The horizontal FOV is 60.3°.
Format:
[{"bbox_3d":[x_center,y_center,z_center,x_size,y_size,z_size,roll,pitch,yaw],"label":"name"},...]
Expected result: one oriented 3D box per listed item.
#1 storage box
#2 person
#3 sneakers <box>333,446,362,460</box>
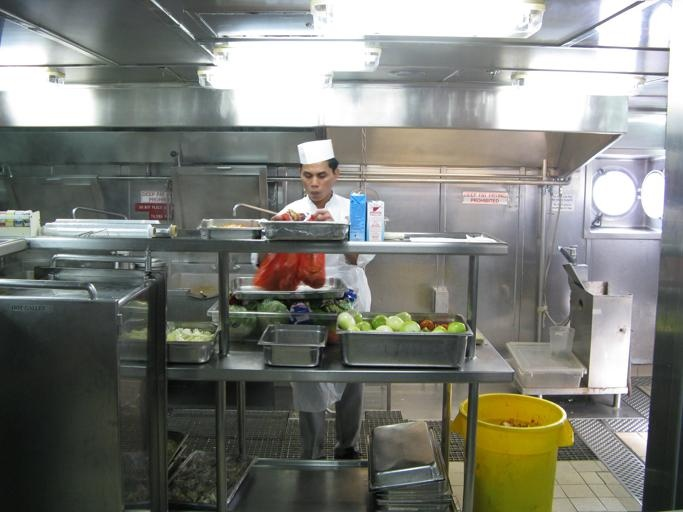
[{"bbox_3d":[1.573,0.852,4.566,0.479,0.329,0.363,2,-6,-6],"label":"storage box"},{"bbox_3d":[-0.109,0.340,3.708,0.740,2.064,0.682,7,12,6],"label":"person"},{"bbox_3d":[0.036,1.228,3.672,0.190,0.079,0.069,0,-2,0],"label":"sneakers"}]
